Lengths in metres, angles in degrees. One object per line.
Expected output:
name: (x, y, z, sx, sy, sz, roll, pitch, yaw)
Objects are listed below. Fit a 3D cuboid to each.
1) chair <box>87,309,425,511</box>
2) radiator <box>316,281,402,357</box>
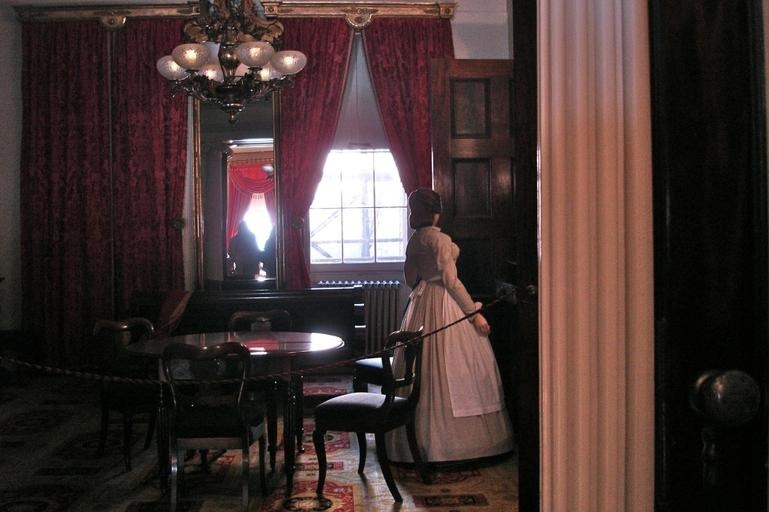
chair: (-0.788, 0.893, 4.612, 1.459, 1.082, 1.949, -1, -4, -39)
radiator: (-0.212, 0.545, 6.392, 0.600, 0.648, 0.090, -1, -3, -3)
